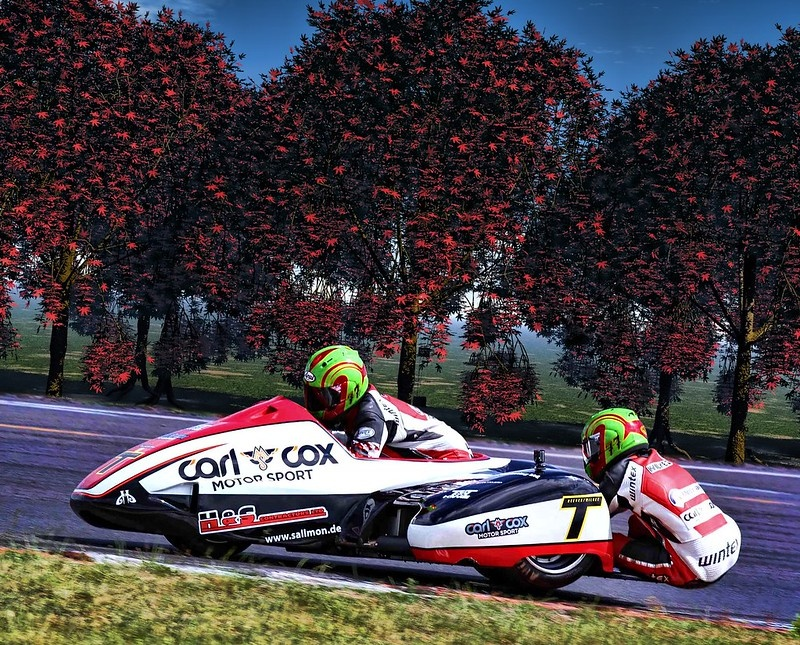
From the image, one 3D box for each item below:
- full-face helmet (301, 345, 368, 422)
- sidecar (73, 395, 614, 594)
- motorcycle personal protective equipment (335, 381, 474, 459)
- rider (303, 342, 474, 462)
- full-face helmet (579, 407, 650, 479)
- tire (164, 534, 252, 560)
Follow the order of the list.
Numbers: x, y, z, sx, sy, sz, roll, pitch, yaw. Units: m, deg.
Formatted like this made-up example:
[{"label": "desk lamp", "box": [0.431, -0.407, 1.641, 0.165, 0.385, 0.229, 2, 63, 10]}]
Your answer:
[{"label": "full-face helmet", "box": [-0.566, 0.516, 6.189, 0.663, 0.462, 0.496, -10, 15, -34]}, {"label": "sidecar", "box": [-0.282, 1.396, 5.533, 3.454, 0.773, 1.908, 7, -9, -13]}, {"label": "motorcycle personal protective equipment", "box": [0.139, 0.885, 6.043, 1.104, 0.268, 0.699, 11, 10, -14]}, {"label": "rider", "box": [-0.260, 0.758, 6.072, 1.547, 0.532, 0.995, 15, 11, -29]}, {"label": "full-face helmet", "box": [1.878, 1.011, 5.863, 0.552, 0.506, 0.659, 13, -25, -36]}, {"label": "tire", "box": [-1.483, 1.696, 5.334, 0.442, 0.122, 0.361, 7, -13, -12]}]
